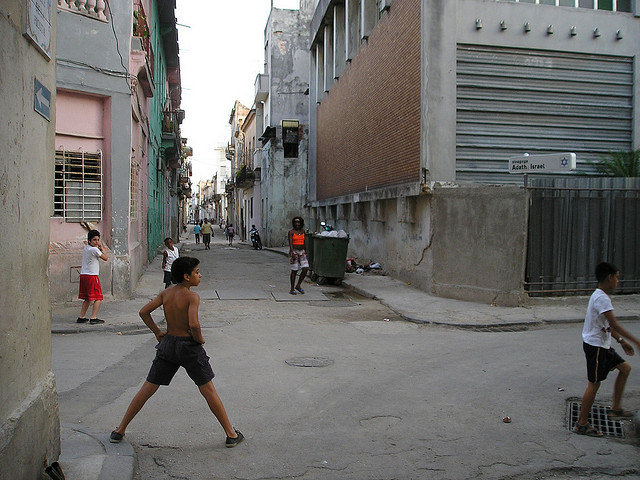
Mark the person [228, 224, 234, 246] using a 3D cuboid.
[{"bbox_3d":[-7.070,-0.384,41.223,0.345,1.557,1.889,0,3,-10],"label":"person"}]

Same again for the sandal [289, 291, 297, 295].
[{"bbox_3d":[-0.756,1.494,14.457,0.152,0.074,0.068,-5,-1,31],"label":"sandal"}]

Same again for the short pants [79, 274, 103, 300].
[{"bbox_3d":[-4.556,0.964,10.342,0.481,0.540,0.287,8,-17,-42],"label":"short pants"}]

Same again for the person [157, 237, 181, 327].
[{"bbox_3d":[-3.878,0.881,13.563,0.569,1.879,0.578,0,-3,37],"label":"person"}]

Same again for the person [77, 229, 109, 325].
[{"bbox_3d":[-4.539,0.728,10.398,0.538,1.807,0.918,-1,3,-24],"label":"person"}]

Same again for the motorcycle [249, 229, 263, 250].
[{"bbox_3d":[-4.349,0.015,35.544,0.638,1.278,2.026,0,3,-8],"label":"motorcycle"}]

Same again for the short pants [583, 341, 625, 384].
[{"bbox_3d":[2.983,1.288,5.592,0.354,0.518,0.372,-3,-1,11],"label":"short pants"}]

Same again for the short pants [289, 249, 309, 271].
[{"bbox_3d":[-0.581,0.570,14.595,0.534,0.805,0.400,-2,-9,-29],"label":"short pants"}]

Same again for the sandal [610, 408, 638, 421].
[{"bbox_3d":[3.338,1.940,5.789,0.299,0.156,0.113,-1,2,-11],"label":"sandal"}]

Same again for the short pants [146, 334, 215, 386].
[{"bbox_3d":[-1.387,1.141,5.118,0.615,0.630,0.288,1,20,-3],"label":"short pants"}]

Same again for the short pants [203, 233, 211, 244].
[{"bbox_3d":[-7.317,-0.071,34.144,0.466,0.863,0.615,0,0,36],"label":"short pants"}]

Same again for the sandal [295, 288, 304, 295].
[{"bbox_3d":[-0.516,1.452,14.548,0.218,0.105,0.240,2,3,34],"label":"sandal"}]

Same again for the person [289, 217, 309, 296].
[{"bbox_3d":[-0.605,0.466,14.531,0.494,2.108,0.839,0,3,-3],"label":"person"}]

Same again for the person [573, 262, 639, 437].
[{"bbox_3d":[3.104,1.159,5.634,0.544,1.779,0.843,2,3,35],"label":"person"}]

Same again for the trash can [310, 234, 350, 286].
[{"bbox_3d":[0.230,0.676,16.478,0.817,1.607,1.359,-2,4,-44],"label":"trash can"}]

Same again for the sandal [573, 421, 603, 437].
[{"bbox_3d":[2.809,1.997,5.485,0.258,0.136,0.115,3,5,-4],"label":"sandal"}]

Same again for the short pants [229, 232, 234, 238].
[{"bbox_3d":[-7.012,-0.312,41.328,0.387,0.455,0.233,1,6,-3],"label":"short pants"}]
